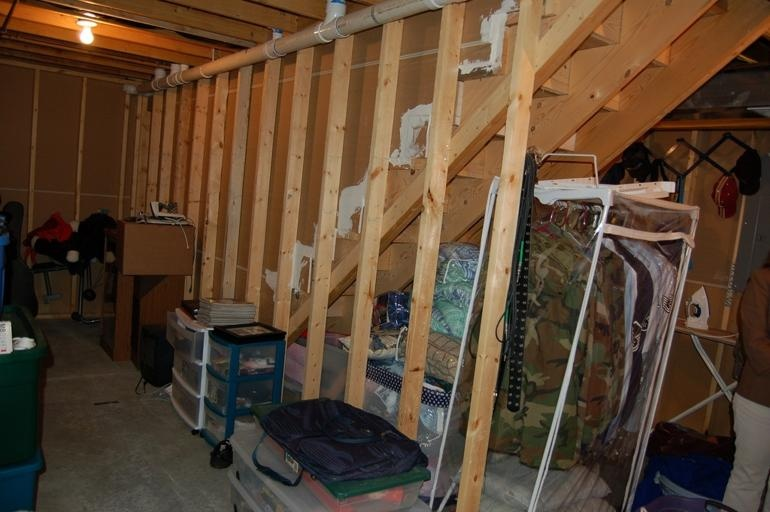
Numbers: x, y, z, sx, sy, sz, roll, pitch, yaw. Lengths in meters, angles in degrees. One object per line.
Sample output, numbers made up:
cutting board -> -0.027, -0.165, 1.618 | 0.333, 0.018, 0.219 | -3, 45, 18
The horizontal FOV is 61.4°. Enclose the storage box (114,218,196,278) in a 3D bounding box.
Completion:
storage box -> -2.217, -0.069, 6.243 | 0.526, 0.425, 0.535 | 1, -1, -21

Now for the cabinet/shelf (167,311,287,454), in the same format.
cabinet/shelf -> -1.279, 0.831, 5.234 | 0.814, 1.126, 1.455 | 1, 5, -31

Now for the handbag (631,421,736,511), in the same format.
handbag -> 2.238, 1.554, 4.832 | 0.583, 0.216, 0.591 | 16, 47, 38

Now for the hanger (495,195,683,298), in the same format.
hanger -> 1.247, -0.163, 3.754 | 0.614, 0.275, 0.614 | 18, 14, 38

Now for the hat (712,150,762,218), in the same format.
hat -> 3.018, -0.621, 5.556 | 0.363, 0.606, 0.134 | 9, 17, 30

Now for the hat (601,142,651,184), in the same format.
hat -> 2.235, -0.862, 5.974 | 0.428, 0.382, 0.200 | 4, 15, 13
